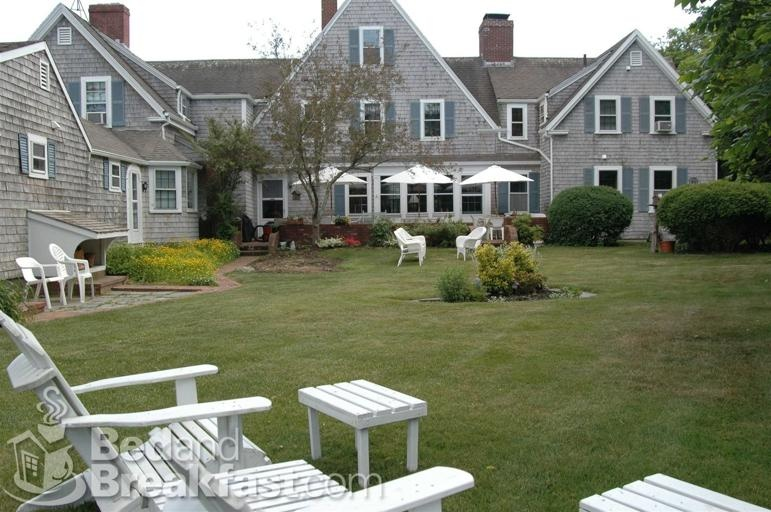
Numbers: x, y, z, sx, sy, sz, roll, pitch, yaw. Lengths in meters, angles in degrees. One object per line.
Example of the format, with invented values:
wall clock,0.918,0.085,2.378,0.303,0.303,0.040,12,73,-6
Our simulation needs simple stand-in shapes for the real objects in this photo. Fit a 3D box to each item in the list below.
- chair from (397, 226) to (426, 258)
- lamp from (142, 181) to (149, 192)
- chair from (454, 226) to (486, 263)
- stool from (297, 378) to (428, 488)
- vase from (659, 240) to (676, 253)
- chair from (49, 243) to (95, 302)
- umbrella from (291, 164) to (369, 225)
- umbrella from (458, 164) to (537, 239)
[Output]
chair,0.785,-0.400,21.667,0.995,0.994,0.859,0,9,4
lamp,-8.552,-2.452,25.116,0.300,0.387,0.280,0,6,-6
chair,2.739,-0.388,21.846,1.093,1.409,1.113,-1,6,-13
stool,-0.249,1.845,7.757,0.830,0.803,1.277,-4,8,-34
vase,9.091,-0.279,22.839,0.412,0.320,0.412,-2,0,-29
chair,-6.916,0.383,15.649,0.916,1.148,0.868,2,2,14
umbrella,-2.295,-2.899,27.999,2.732,1.400,5.586,-2,13,-5
umbrella,4.362,-2.171,28.729,3.341,2.393,3.215,-3,4,-30
